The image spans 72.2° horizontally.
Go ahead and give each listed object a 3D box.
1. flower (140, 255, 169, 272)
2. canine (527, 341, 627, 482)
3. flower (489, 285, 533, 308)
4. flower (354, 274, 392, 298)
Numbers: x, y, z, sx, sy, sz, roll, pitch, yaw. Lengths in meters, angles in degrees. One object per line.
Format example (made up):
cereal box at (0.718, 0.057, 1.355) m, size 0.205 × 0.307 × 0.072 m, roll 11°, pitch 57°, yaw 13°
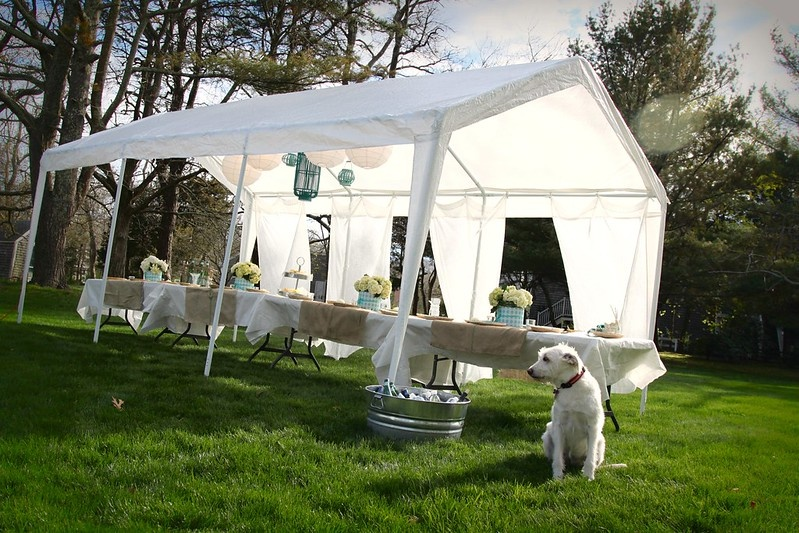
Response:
flower at (-4.592, -0.032, 10.187) m, size 0.364 × 0.346 × 0.362 m, roll 1°, pitch 6°, yaw -33°
canine at (1.725, 1.483, 5.628) m, size 0.868 × 1.309 × 0.570 m, roll 5°, pitch -3°, yaw 9°
flower at (1.598, 0.454, 7.807) m, size 0.413 × 0.267 × 0.378 m, roll 0°, pitch -3°, yaw 41°
flower at (-0.471, 0.328, 8.800) m, size 0.395 × 0.308 × 0.438 m, roll 6°, pitch -4°, yaw -32°
